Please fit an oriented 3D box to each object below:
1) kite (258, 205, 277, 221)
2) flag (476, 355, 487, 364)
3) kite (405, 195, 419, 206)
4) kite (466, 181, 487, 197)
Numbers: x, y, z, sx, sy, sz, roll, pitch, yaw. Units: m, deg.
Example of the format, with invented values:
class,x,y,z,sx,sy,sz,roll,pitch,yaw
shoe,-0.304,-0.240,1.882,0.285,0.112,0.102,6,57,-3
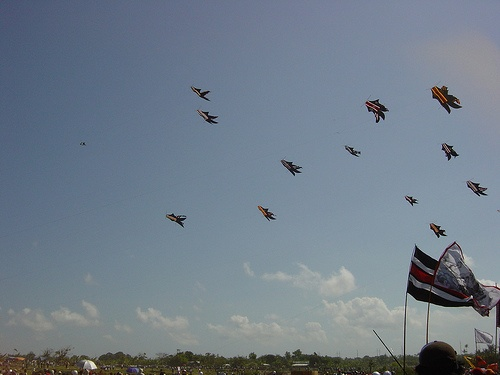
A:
class,x,y,z,sx,sy,sz,roll,pitch,yaw
kite,3.286,5.323,110.493,1.906,4.507,2.348,-8,-55,-23
flag,32.681,24.495,85.055,0.461,1.563,1.090,20,-79,-10
kite,19.095,1.548,71.233,0.753,1.378,1.001,-11,-76,-5
kite,29.164,0.214,77.416,1.268,2.392,1.362,1,-51,-54
